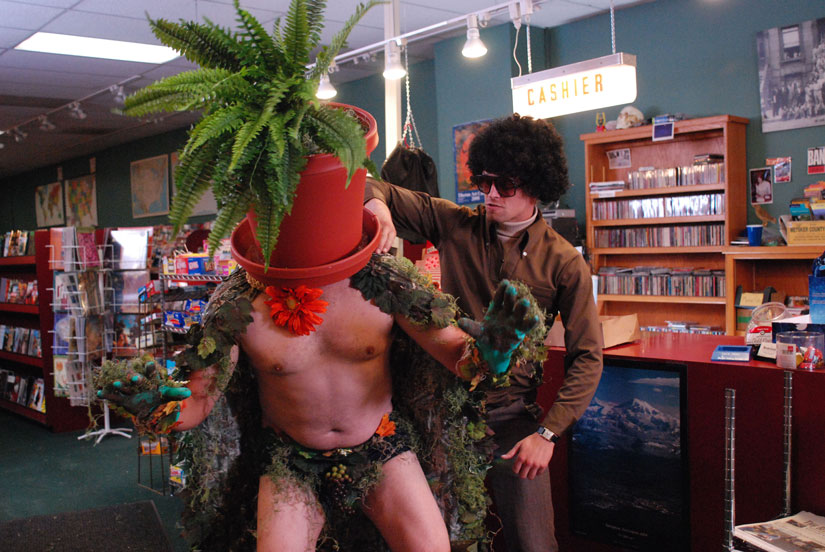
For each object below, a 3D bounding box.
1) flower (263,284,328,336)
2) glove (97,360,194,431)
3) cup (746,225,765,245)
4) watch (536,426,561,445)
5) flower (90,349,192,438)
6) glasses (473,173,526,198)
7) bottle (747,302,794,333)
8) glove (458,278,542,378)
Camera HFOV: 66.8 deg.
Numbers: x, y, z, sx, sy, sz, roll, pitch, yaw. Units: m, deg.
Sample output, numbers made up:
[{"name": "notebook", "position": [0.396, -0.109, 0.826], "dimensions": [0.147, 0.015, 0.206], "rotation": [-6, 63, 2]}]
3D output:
[{"name": "flower", "position": [-0.428, 0.123, 2.248], "dimensions": [0.239, 0.184, 0.106], "rotation": [-2, 5, -1]}, {"name": "glove", "position": [-0.969, 0.404, 2.240], "dimensions": [0.309, 0.232, 0.158], "rotation": [27, -13, 18]}, {"name": "cup", "position": [3.041, -0.357, 5.551], "dimensions": [0.137, 0.172, 0.143], "rotation": [-2, 5, 0]}, {"name": "watch", "position": [0.572, 0.672, 2.688], "dimensions": [0.073, 0.083, 0.076], "rotation": [30, -12, -36]}, {"name": "flower", "position": [-0.952, 0.410, 2.253], "dimensions": [0.327, 0.251, 0.167], "rotation": [30, -8, 9]}, {"name": "glasses", "position": [0.417, -0.432, 3.014], "dimensions": [0.201, 0.117, 0.075], "rotation": [0, 5, 19]}, {"name": "bottle", "position": [2.016, 0.241, 3.575], "dimensions": [0.165, 0.140, 0.270], "rotation": [2, 7, 36]}, {"name": "glove", "position": [0.304, 0.204, 2.115], "dimensions": [0.255, 0.328, 0.097], "rotation": [35, 34, 28]}]
